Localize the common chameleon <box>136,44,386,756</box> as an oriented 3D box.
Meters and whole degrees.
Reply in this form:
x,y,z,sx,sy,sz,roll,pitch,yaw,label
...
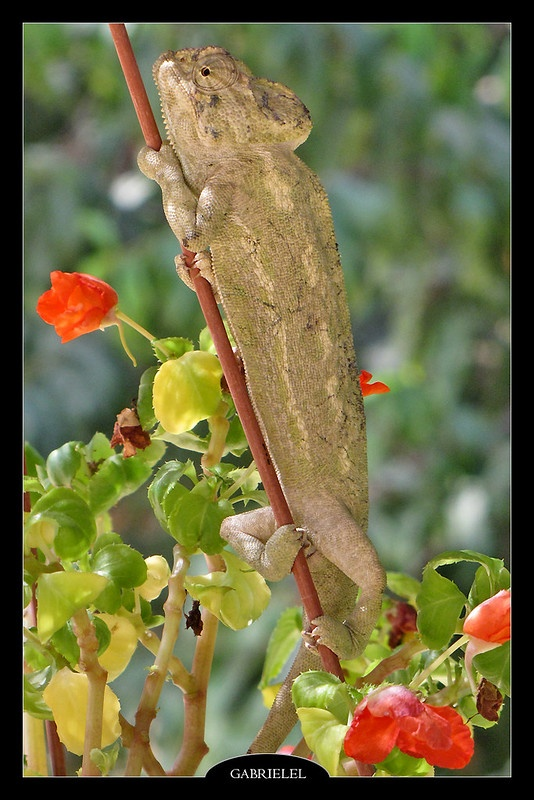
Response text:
x,y,z,sx,sy,sz,roll,pitch,yaw,label
-0.006,0.021,0.981,0.246,0.697,0.127,-8,-8,4,common chameleon
